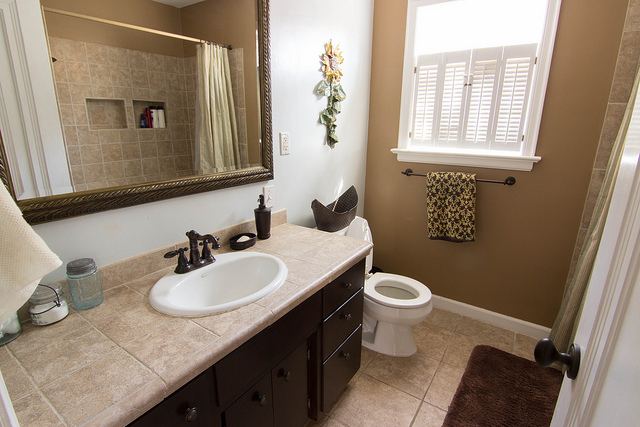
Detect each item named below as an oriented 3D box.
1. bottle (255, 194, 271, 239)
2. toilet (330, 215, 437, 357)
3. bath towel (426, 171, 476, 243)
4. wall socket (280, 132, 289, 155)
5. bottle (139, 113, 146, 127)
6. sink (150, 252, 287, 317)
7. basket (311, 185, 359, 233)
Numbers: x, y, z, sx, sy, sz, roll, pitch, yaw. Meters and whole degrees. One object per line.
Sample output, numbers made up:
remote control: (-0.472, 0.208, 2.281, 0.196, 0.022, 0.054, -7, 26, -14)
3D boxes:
bottle: (-0.342, 0.008, 2.434, 0.088, 0.249, 0.152, -5, 20, -9)
toilet: (0.424, 0.531, 2.869, 0.648, 0.736, 0.397, 8, 20, 21)
bath towel: (0.953, -0.046, 3.082, 0.342, 0.519, 0.086, 4, 13, 31)
wall socket: (-0.224, -0.434, 2.560, 0.020, 0.143, 0.104, 13, 23, 30)
bottle: (-0.817, -0.427, 1.918, 0.034, 0.058, 0.017, -17, 25, -36)
sink: (-0.471, 0.365, 1.987, 0.628, 0.183, 0.409, -12, 22, -27)
basket: (0.117, -0.039, 2.911, 0.233, 0.251, 0.523, 3, 20, 13)
